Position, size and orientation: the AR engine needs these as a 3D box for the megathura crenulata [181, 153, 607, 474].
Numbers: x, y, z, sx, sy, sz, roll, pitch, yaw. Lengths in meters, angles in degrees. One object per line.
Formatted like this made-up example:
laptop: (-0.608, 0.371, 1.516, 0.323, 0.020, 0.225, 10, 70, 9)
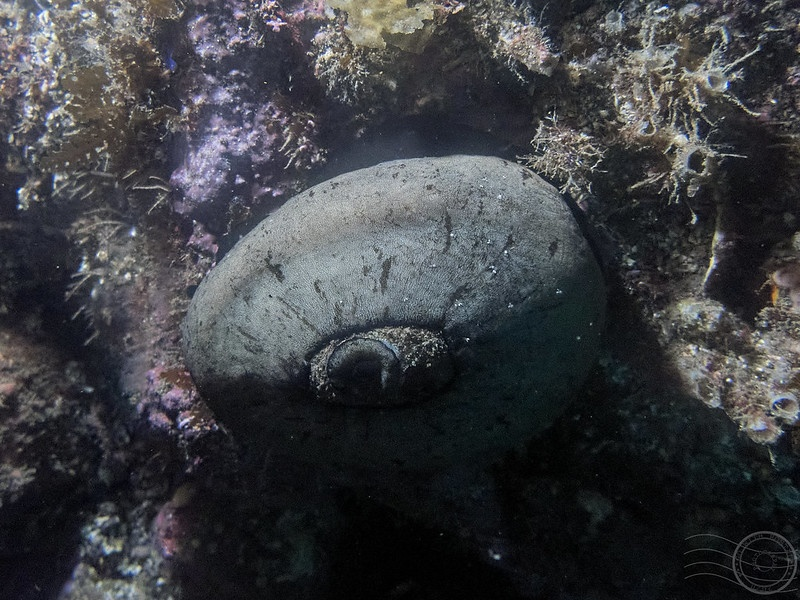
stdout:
megathura crenulata: (0.068, 0.277, 8.530, 4.077, 1.110, 2.940, -9, 74, 3)
